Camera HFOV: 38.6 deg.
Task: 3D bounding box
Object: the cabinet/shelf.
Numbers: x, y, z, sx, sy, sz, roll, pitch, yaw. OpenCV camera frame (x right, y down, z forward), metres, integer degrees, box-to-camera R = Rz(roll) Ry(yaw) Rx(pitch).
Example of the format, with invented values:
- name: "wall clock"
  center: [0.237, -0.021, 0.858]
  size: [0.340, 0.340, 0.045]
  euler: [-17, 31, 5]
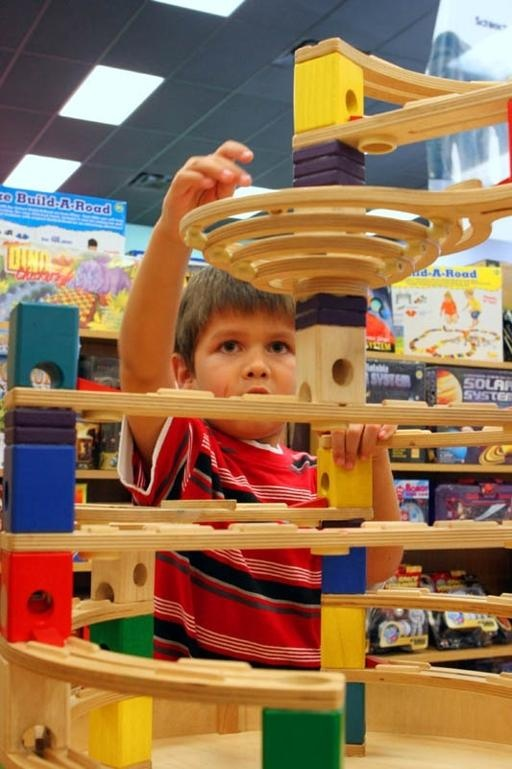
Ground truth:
- name: "cabinet/shelf"
  center: [0.024, 0.158, 0.864]
  size: [0.596, 0.225, 0.436]
  euler: [-7, -4, -19]
